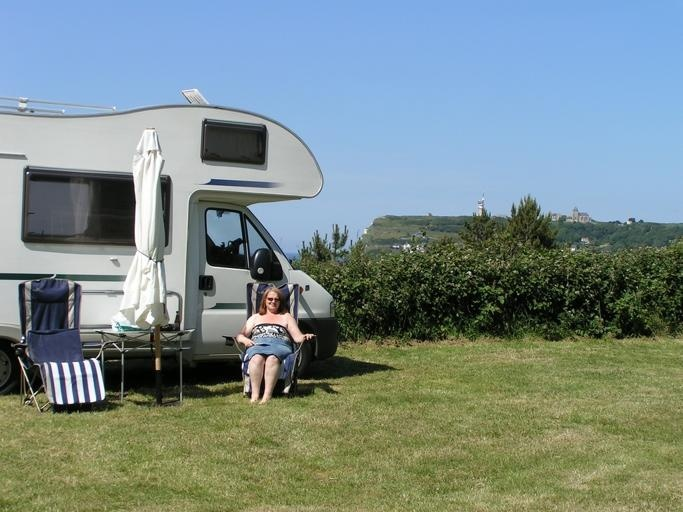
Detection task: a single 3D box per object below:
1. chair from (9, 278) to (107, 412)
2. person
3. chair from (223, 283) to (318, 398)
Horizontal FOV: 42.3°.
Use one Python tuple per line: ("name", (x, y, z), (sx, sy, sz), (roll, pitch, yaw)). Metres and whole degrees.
("chair", (-3.706, 1.152, 11.413), (1.390, 1.651, 0.866), (6, 9, 33))
("person", (-0.995, 1.283, 12.016), (1.116, 2.004, 0.984), (5, -20, -6))
("chair", (-0.956, 1.261, 12.061), (0.999, 1.863, 0.976), (1, -16, 3))
